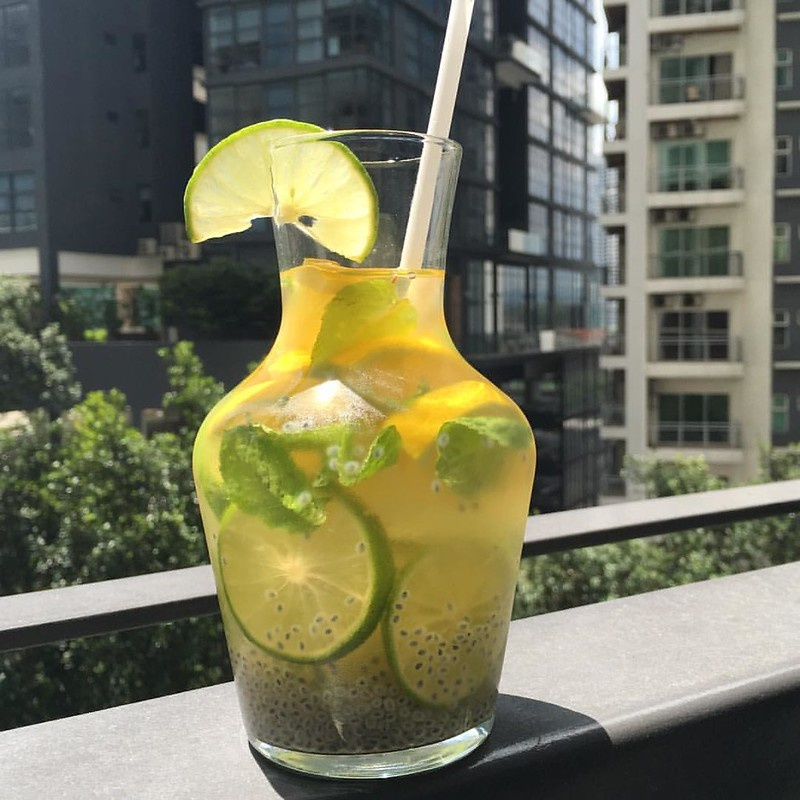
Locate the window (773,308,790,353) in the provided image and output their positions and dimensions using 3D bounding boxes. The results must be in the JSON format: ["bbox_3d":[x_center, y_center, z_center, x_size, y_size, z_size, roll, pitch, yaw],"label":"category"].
[{"bbox_3d":[3.423,-0.582,10.814,0.243,0.329,0.112,-5,8,-21],"label":"window"}]

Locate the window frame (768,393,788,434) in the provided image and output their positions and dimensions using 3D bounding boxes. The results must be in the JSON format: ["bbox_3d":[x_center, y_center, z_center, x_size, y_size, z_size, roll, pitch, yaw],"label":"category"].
[{"bbox_3d":[3.457,0.150,11.081,0.048,0.439,0.330,4,9,41],"label":"window frame"}]

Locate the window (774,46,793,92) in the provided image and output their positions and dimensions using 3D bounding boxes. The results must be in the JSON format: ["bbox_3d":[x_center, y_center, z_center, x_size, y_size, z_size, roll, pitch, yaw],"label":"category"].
[{"bbox_3d":[3.399,-2.820,10.662,0.211,0.383,0.094,-2,2,-16],"label":"window"}]

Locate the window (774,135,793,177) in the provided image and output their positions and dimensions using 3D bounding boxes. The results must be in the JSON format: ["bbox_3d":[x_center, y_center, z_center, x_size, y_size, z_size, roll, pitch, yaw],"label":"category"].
[{"bbox_3d":[3.374,-2.065,10.632,0.162,0.359,0.124,0,2,27],"label":"window"}]

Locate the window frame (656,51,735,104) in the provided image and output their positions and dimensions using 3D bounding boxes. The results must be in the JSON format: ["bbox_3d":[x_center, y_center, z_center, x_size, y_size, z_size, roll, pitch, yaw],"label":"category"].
[{"bbox_3d":[2.679,-2.839,10.996,0.703,0.428,0.212,0,2,25],"label":"window frame"}]

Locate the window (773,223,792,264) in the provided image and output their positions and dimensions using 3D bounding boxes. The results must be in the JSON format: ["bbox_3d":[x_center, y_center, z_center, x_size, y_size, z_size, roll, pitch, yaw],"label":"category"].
[{"bbox_3d":[3.294,-1.291,10.403,0.143,0.342,0.125,-1,2,17],"label":"window"}]

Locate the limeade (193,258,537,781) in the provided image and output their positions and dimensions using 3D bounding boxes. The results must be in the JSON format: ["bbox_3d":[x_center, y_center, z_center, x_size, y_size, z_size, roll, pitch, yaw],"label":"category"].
[{"bbox_3d":[-0.014,0.039,0.464,0.127,0.174,0.116,-1,-2,-7],"label":"limeade"}]

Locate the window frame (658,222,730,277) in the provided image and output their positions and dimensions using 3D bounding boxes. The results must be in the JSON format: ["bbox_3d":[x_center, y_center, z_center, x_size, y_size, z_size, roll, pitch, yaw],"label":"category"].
[{"bbox_3d":[2.692,-1.301,11.080,0.640,0.467,0.071,0,0,20],"label":"window frame"}]

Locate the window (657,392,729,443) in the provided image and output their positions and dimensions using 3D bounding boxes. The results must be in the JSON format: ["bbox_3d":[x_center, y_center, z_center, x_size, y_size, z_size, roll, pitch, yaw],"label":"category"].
[{"bbox_3d":[2.715,0.174,11.127,0.484,0.397,0.066,-1,19,5],"label":"window"}]

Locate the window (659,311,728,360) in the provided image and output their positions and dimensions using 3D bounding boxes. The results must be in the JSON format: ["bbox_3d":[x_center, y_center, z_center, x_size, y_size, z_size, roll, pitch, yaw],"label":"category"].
[{"bbox_3d":[2.648,-0.537,10.902,0.632,0.441,0.087,2,6,28],"label":"window"}]

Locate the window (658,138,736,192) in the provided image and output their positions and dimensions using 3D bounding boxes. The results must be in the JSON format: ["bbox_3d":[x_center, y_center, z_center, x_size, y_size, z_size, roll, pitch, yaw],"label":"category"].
[{"bbox_3d":[2.754,-2.079,11.109,0.555,0.404,0.059,-2,-10,28],"label":"window"}]
